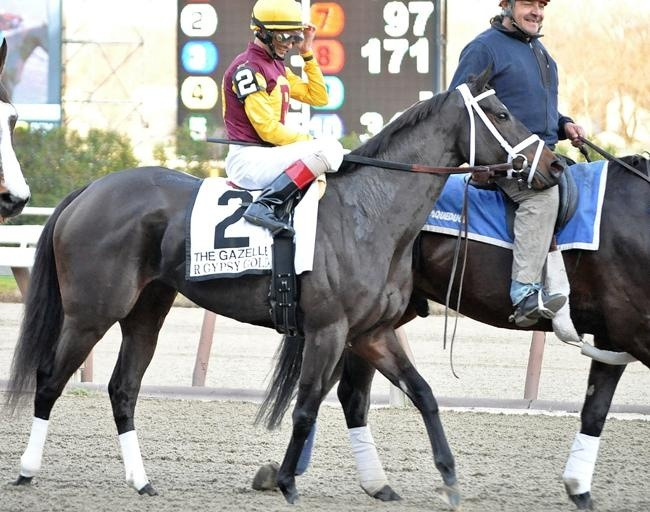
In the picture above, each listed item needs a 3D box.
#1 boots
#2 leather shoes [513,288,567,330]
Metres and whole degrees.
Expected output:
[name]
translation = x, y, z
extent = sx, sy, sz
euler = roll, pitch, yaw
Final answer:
[boots]
translation = -0.224, -0.296, 5.499
extent = 0.351, 0.376, 0.144
euler = 1, 8, -5
[leather shoes]
translation = 1.078, 0.234, 5.677
extent = 0.265, 0.221, 0.099
euler = -27, -37, 28
